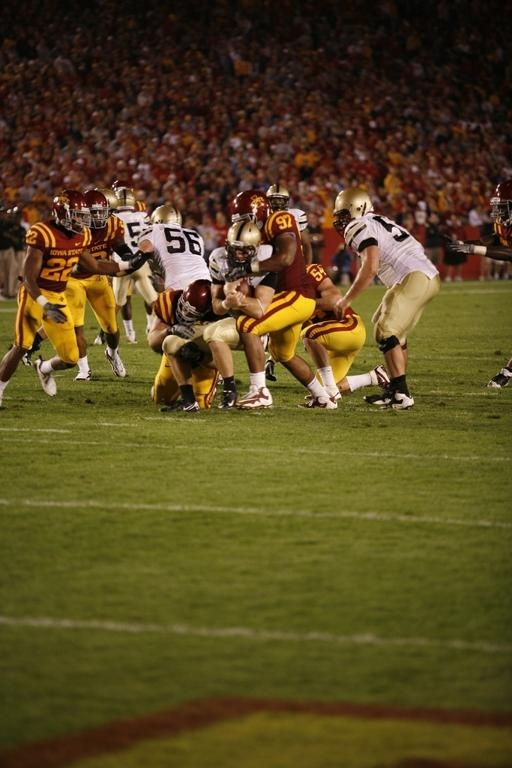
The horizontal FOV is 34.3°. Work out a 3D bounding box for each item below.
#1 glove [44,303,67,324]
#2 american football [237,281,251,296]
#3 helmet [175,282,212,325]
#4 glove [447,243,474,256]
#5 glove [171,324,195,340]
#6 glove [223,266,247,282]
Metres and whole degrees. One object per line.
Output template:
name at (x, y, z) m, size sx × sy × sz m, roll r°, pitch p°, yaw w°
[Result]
glove at (-1.148, -0.406, 4.725) m, size 0.112 × 0.121 × 0.187 m, roll -3°, pitch 10°, yaw -16°
american football at (-0.069, -0.528, 4.614) m, size 0.081 × 0.075 × 0.094 m, roll 0°, pitch 1°, yaw -2°
helmet at (-0.351, -0.453, 4.753) m, size 0.168 × 0.225 × 0.186 m, roll 45°, pitch -16°, yaw -11°
glove at (1.358, -0.911, 5.506) m, size 0.169 × 0.067 × 0.302 m, roll 2°, pitch 9°, yaw 12°
glove at (-0.405, -0.292, 4.684) m, size 0.122 × 0.030 × 0.084 m, roll 13°, pitch 4°, yaw 8°
glove at (-0.099, -0.611, 4.585) m, size 0.071 × 0.041 × 0.111 m, roll -6°, pitch -1°, yaw -21°
